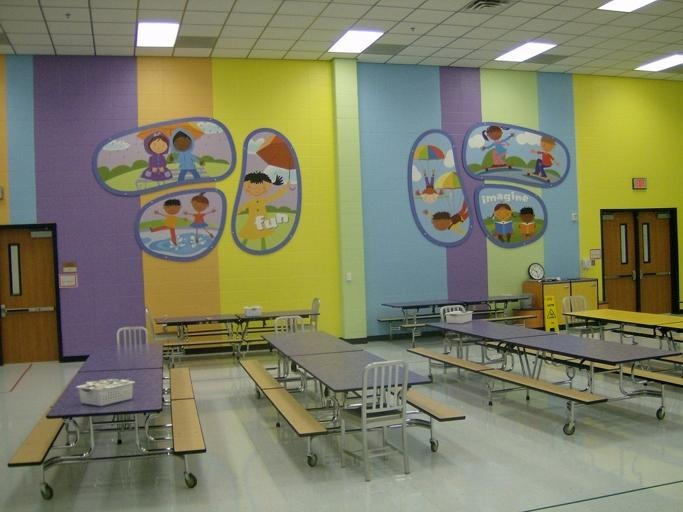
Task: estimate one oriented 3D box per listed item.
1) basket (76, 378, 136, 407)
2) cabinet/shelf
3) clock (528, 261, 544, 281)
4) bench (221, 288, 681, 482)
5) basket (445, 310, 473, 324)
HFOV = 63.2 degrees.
[{"bbox_3d":[-2.326,1.341,5.531,0.379,0.138,0.283,-3,4,-42],"label":"basket"},{"bbox_3d":[4.897,1.075,12.172,1.374,1.033,0.482,-9,11,-13],"label":"cabinet/shelf"},{"bbox_3d":[4.286,0.348,12.284,0.442,0.391,0.073,-4,-10,-27],"label":"clock"},{"bbox_3d":[1.520,1.550,7.380,4.963,1.081,2.944,-3,9,-10],"label":"bench"},{"bbox_3d":[1.883,0.955,8.687,0.297,0.091,0.216,-5,5,-43],"label":"basket"}]
